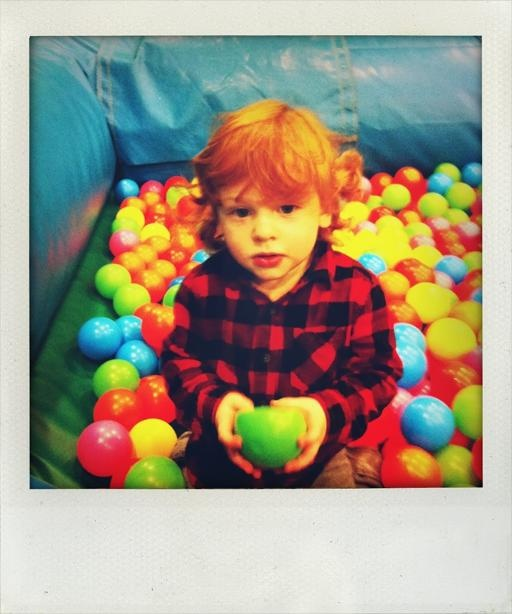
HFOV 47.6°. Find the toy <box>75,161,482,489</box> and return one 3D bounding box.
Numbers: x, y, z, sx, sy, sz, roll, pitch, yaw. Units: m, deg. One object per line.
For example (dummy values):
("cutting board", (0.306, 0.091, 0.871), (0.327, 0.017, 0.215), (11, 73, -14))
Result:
("toy", (0.284, 0.049, 1.693), (1.224, 0.853, 0.254), (0, -11, 0))
